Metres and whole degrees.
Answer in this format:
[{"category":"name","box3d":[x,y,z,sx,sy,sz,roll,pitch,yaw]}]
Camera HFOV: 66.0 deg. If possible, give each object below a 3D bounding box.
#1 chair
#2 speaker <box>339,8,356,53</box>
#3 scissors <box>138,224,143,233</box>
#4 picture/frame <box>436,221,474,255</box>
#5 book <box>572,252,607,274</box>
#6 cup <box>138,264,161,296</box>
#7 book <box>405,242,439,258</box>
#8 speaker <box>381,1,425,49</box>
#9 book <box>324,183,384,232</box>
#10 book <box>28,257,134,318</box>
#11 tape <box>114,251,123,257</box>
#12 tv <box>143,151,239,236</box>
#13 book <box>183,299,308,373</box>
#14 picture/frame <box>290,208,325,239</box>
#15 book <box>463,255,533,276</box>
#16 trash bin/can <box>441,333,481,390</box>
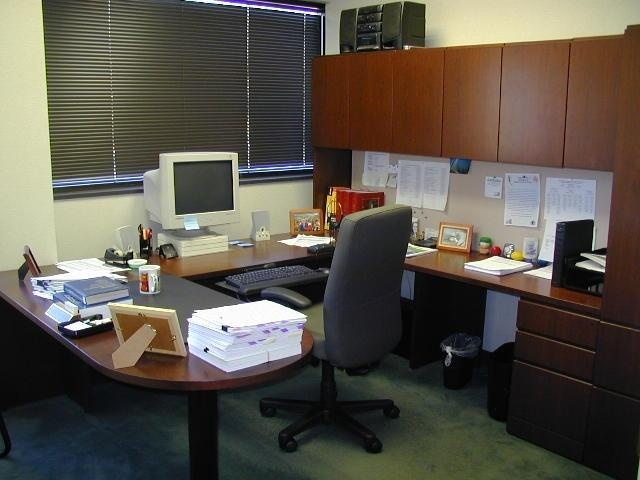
[{"category":"chair","box3d":[0.060,0.443,2.800,0.794,1.247,0.728,3,7,27]},{"category":"speaker","box3d":[0.204,-1.635,3.859,0.094,0.300,0.264,-6,15,-31]},{"category":"scissors","box3d":[-1.278,-0.087,3.493,0.019,0.065,0.048,-1,-15,-16]},{"category":"picture/frame","box3d":[0.998,-0.012,3.637,0.202,0.182,0.016,15,-2,33]},{"category":"book","box3d":[1.501,0.123,2.713,0.118,0.043,0.117,-11,16,-30]},{"category":"cup","box3d":[-0.859,0.196,2.556,0.135,0.143,0.108,-2,7,-37]},{"category":"book","box3d":[0.717,0.074,3.579,0.165,0.014,0.179,-11,17,-36]},{"category":"speaker","box3d":[0.611,-1.562,3.609,0.331,0.320,0.201,2,13,3]},{"category":"book","box3d":[0.248,-0.324,4.195,0.497,0.490,0.363,-6,12,-39]},{"category":"book","box3d":[-1.215,0.241,2.477,0.311,0.105,0.419,-5,10,-40]},{"category":"tape","box3d":[-1.299,0.084,3.172,0.041,0.041,0.030,-1,-3,15]},{"category":"tv","box3d":[-0.944,-0.369,3.688,0.563,0.483,0.418,-8,5,-44]},{"category":"book","box3d":[-0.264,0.353,1.913,0.311,0.136,0.255,-5,11,-44]},{"category":"picture/frame","box3d":[-0.114,-0.138,4.112,0.246,0.212,0.019,-1,-6,-14]},{"category":"book","box3d":[1.156,0.164,3.206,0.412,0.037,0.321,-10,18,-42]},{"category":"trash bin/can","box3d":[0.980,0.863,3.497,0.249,0.293,0.340,-1,1,39]}]
